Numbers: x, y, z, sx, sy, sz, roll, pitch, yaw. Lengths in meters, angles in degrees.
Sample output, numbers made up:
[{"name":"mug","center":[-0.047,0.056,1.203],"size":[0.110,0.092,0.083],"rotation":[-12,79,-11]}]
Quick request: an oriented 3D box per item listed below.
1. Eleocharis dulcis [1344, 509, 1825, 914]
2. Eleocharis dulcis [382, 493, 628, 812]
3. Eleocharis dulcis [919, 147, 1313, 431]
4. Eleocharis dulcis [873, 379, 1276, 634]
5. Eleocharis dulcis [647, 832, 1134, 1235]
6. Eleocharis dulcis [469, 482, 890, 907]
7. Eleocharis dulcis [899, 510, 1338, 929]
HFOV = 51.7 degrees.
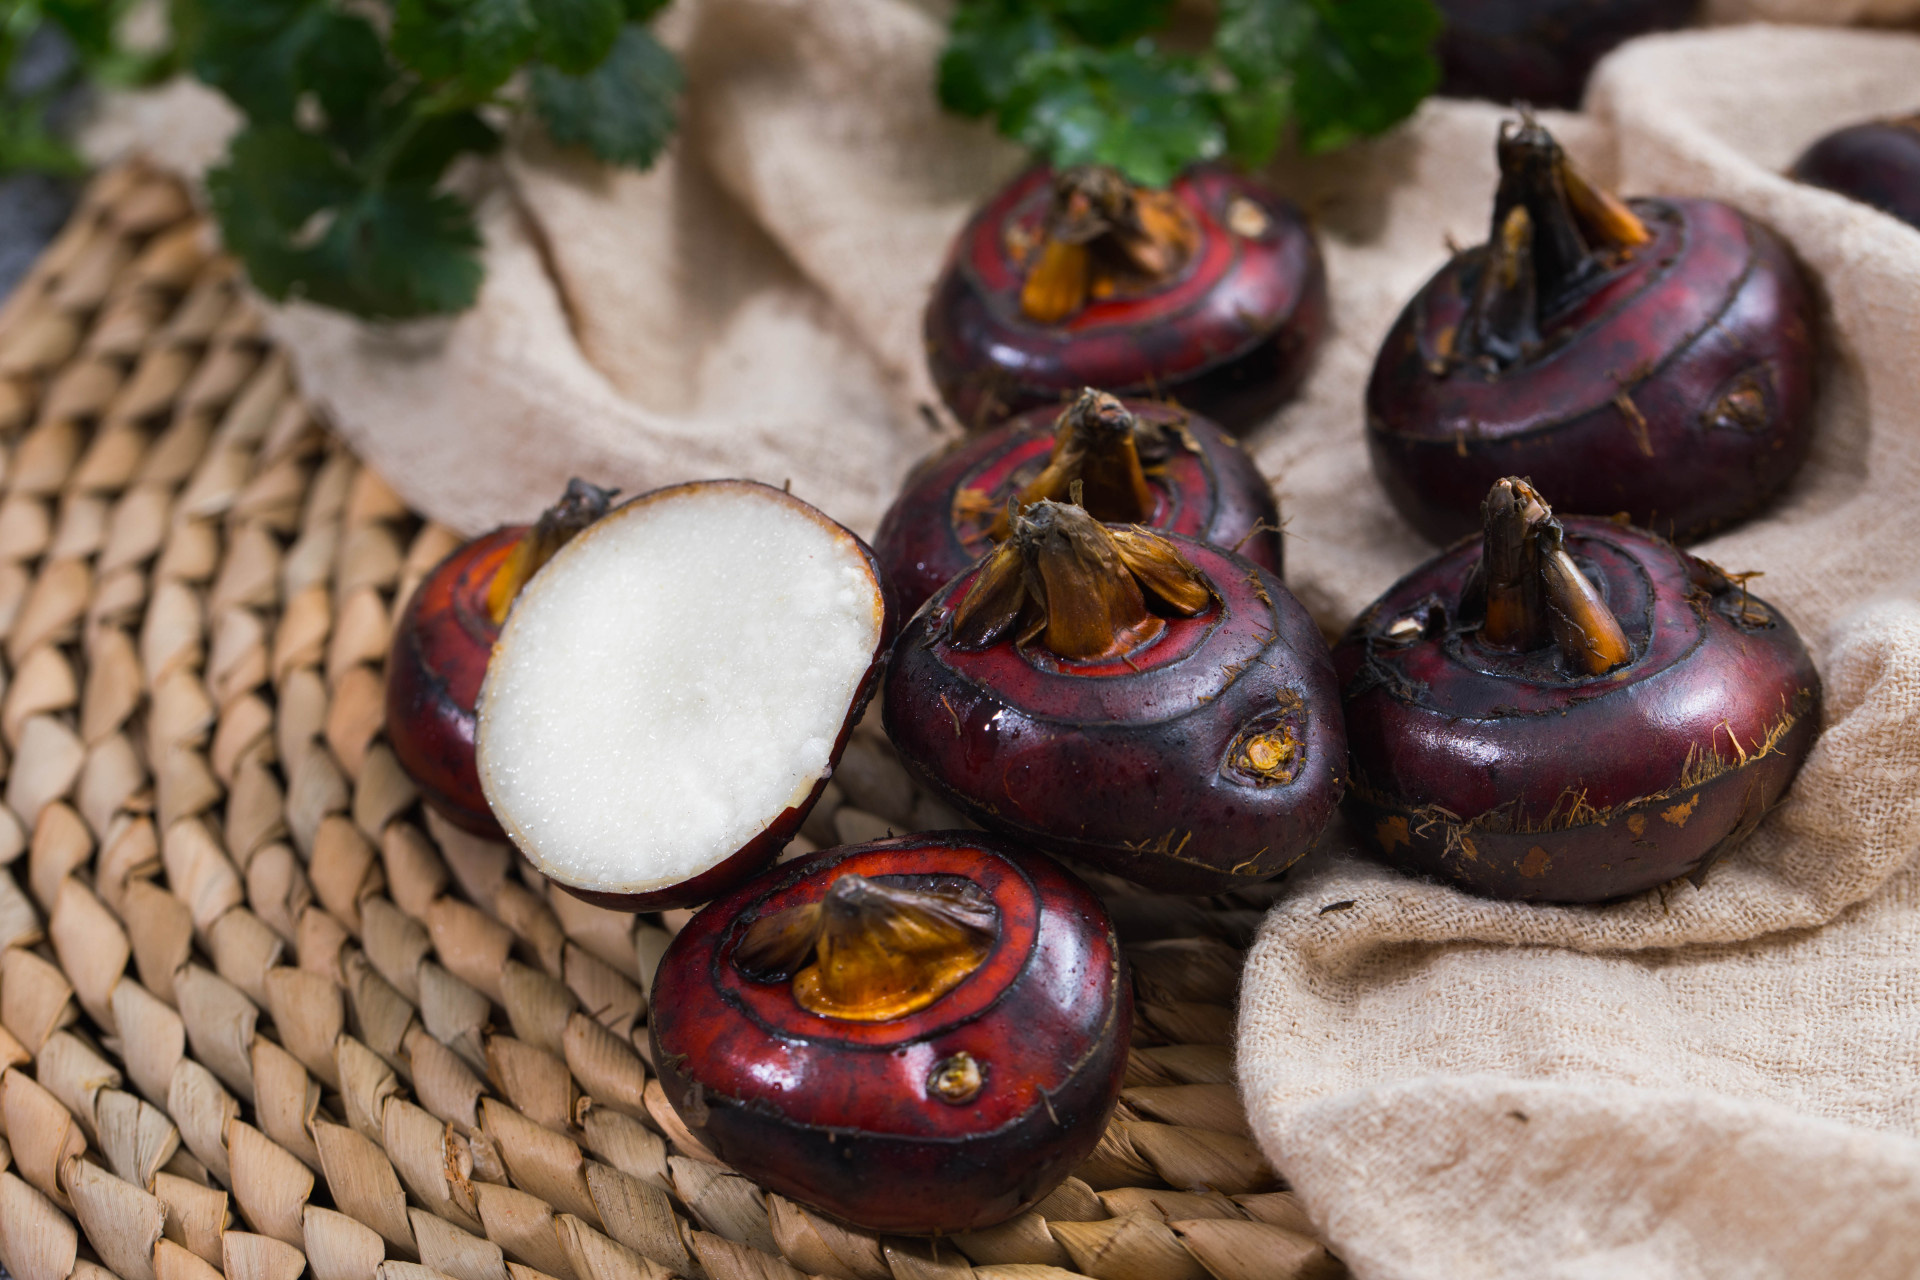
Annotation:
[{"name":"Eleocharis dulcis","center":[0.576,0.041,1.874],"size":[0.439,0.270,0.310],"rotation":[-11,52,9]},{"name":"Eleocharis dulcis","center":[-0.526,0.008,2.102],"size":[0.289,0.414,0.307],"rotation":[-3,57,-16]},{"name":"Eleocharis dulcis","center":[0.181,-0.395,2.204],"size":[0.329,0.217,0.332],"rotation":[-35,61,-9]},{"name":"Eleocharis dulcis","center":[0.114,-0.167,2.067],"size":[0.287,0.118,0.304],"rotation":[-12,40,11]},{"name":"Eleocharis dulcis","center":[-0.065,0.352,1.820],"size":[0.434,0.232,0.327],"rotation":[-19,51,3]},{"name":"Eleocharis dulcis","center":[-0.279,0.049,1.930],"size":[0.344,0.167,0.425],"rotation":[19,63,28]},{"name":"Eleocharis dulcis","center":[0.135,0.078,1.929],"size":[0.312,0.260,0.393],"rotation":[-39,58,-19]}]
